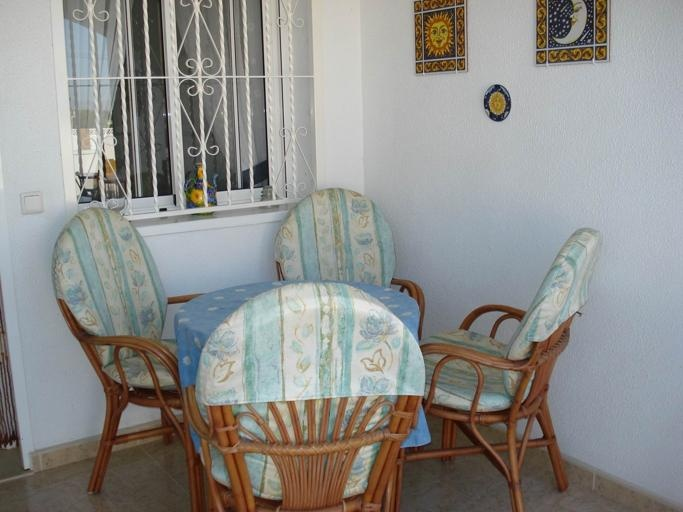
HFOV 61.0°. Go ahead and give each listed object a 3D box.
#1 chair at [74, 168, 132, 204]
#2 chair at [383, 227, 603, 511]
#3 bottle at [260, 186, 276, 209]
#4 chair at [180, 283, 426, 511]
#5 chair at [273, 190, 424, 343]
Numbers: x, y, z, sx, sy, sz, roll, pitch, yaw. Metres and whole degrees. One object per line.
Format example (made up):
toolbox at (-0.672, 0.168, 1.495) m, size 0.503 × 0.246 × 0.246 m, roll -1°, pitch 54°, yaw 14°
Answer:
chair at (-1.299, -0.381, 3.134) m, size 0.168 × 0.198 × 0.171 m, roll -5°, pitch 14°, yaw -17°
chair at (0.676, 0.551, 2.435) m, size 0.747 × 1.259 × 0.480 m, roll 0°, pitch 16°, yaw 14°
bottle at (-0.470, -0.380, 3.591) m, size 0.075 × 0.162 × 0.147 m, roll 1°, pitch 2°, yaw -6°
chair at (-0.312, 0.415, 2.320) m, size 0.923 × 0.651 × 0.920 m, roll -2°, pitch 4°, yaw -19°
chair at (0.003, 0.020, 3.689) m, size 0.703 × 1.327 × 0.840 m, roll -3°, pitch 7°, yaw -11°
